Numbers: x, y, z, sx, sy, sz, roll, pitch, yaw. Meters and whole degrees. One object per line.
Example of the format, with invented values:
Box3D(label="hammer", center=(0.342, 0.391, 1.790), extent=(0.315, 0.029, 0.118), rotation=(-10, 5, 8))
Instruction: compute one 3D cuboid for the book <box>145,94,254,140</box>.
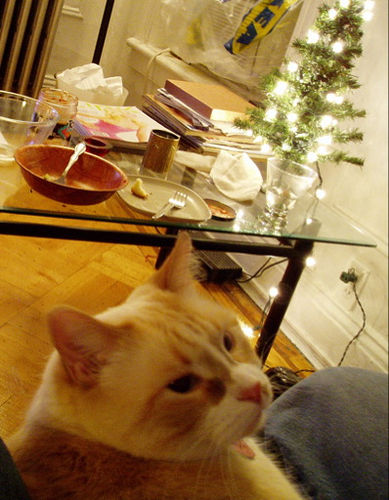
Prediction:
Box3D(label="book", center=(-0.009, -0.340, 1.040), extent=(0.183, 0.018, 0.195), rotation=(4, 35, -26))

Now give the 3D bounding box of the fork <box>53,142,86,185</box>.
Box3D(label="fork", center=(-0.166, -0.116, 0.540), extent=(0.020, 0.053, 0.048), rotation=(22, 17, -15))

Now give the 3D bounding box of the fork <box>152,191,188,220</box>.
Box3D(label="fork", center=(-0.033, -0.067, 0.603), extent=(0.021, 0.012, 0.084), rotation=(28, 42, 15))

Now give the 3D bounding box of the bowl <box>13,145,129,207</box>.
Box3D(label="bowl", center=(-0.161, -0.096, 0.526), extent=(0.143, 0.065, 0.125), rotation=(18, 16, -16))

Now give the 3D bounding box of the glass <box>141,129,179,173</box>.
Box3D(label="glass", center=(-0.060, -0.175, 0.740), extent=(0.055, 0.085, 0.086), rotation=(18, 30, 3))

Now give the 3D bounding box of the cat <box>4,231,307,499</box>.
Box3D(label="cat", center=(-0.027, 0.079, 0.310), extent=(0.188, 0.156, 0.113), rotation=(-14, 24, 20))

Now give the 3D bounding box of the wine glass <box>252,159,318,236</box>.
Box3D(label="wine glass", center=(0.148, -0.082, 0.712), extent=(0.090, 0.119, 0.087), rotation=(10, 11, -27))
